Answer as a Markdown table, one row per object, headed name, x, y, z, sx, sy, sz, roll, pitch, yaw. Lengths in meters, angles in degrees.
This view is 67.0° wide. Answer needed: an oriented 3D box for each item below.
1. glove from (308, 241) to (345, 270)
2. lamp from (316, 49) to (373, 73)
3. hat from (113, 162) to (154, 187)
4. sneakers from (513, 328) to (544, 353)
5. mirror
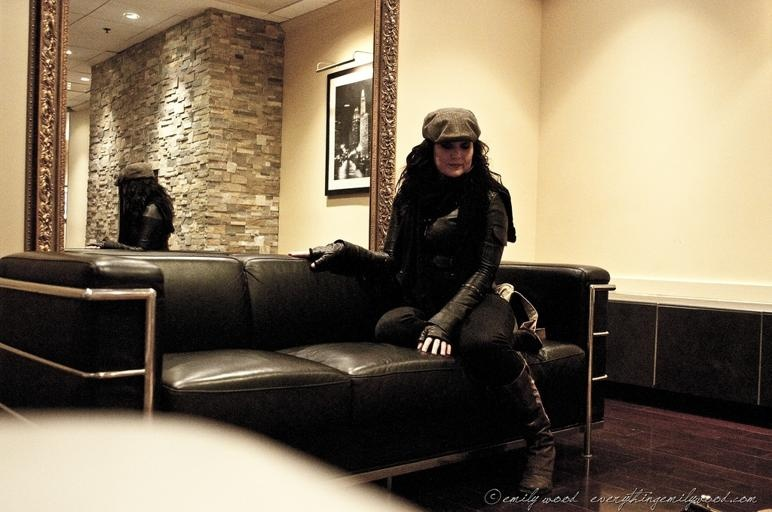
| name | x | y | z | sx | sy | sz | roll | pitch | yaw |
| --- | --- | --- | --- | --- | --- | --- | --- | --- | --- |
| glove | -0.254 | -0.012 | 2.409 | 0.161 | 0.047 | 0.092 | -29 | 46 | -2 |
| lamp | -0.205 | -1.058 | 3.176 | 0.210 | 0.052 | 0.214 | -2 | 2 | 43 |
| hat | -1.066 | -0.344 | 2.443 | 0.126 | 0.058 | 0.098 | -12 | -5 | -10 |
| sneakers | 0.538 | 0.323 | 2.285 | 0.119 | 0.105 | 0.088 | -5 | 8 | -9 |
| mirror | -0.845 | -0.589 | 2.652 | 1.417 | 1.295 | 0.768 | -2 | 4 | -41 |
